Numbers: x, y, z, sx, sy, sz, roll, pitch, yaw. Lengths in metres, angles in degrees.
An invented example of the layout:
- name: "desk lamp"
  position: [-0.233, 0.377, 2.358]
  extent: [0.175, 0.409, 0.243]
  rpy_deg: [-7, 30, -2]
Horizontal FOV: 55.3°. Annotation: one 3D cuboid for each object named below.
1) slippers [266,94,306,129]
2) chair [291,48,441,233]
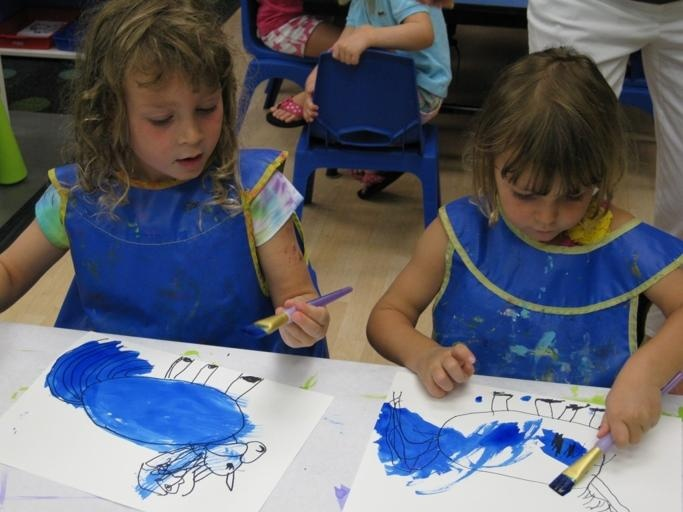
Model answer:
- name: "slippers"
  position: [-0.218, -0.559, 2.528]
  extent: [0.088, 0.058, 0.226]
  rpy_deg: [8, 29, 19]
- name: "chair"
  position: [0.069, -0.393, 2.045]
  extent: [0.323, 0.494, 0.373]
  rpy_deg: [7, 28, 13]
